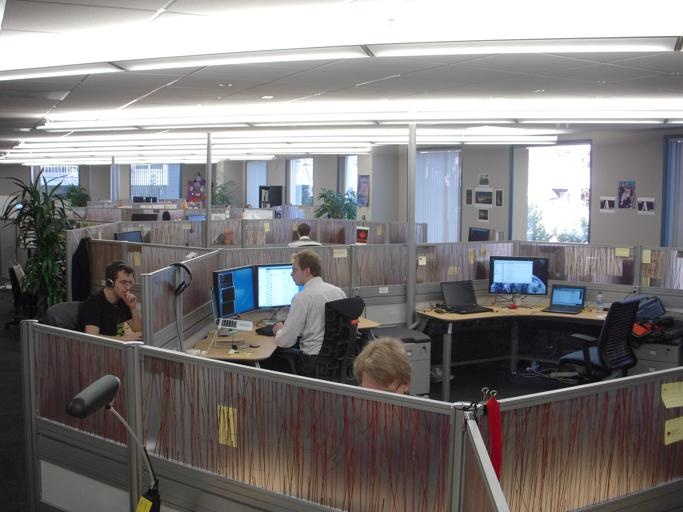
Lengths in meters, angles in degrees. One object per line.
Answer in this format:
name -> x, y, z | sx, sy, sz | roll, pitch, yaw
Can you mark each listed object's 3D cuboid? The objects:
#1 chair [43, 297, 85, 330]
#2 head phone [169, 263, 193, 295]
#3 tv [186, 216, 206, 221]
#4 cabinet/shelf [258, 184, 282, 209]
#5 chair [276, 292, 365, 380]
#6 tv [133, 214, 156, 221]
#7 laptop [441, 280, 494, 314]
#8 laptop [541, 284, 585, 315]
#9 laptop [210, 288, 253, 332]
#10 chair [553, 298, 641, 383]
chair -> -2.065, 0.396, 4.163 | 0.253, 0.335, 0.266 | 2, -2, -42
head phone -> -1.171, 0.161, 4.015 | 0.084, 0.270, 0.199 | -3, 7, -39
tv -> -2.332, -0.608, 8.849 | 0.299, 0.082, 2.187 | -2, 5, -15
cabinet/shelf -> -2.152, -1.784, 16.426 | 0.676, 0.606, 0.842 | -1, 5, 1
chair -> -0.125, 0.600, 4.575 | 0.604, 0.922, 0.614 | 10, 8, 43
tv -> -3.273, -0.606, 9.189 | 0.339, 0.189, 0.237 | 0, 2, 3
laptop -> 1.245, 0.433, 5.843 | 0.387, 0.255, 0.341 | -2, 3, -31
laptop -> 2.362, 0.404, 5.827 | 0.317, 0.240, 0.306 | 4, 7, 28
laptop -> -0.884, 0.498, 4.439 | 0.265, 0.349, 0.640 | -2, 5, -13
chair -> 2.480, 0.738, 5.291 | 0.686, 1.022, 0.700 | -4, 7, -41
